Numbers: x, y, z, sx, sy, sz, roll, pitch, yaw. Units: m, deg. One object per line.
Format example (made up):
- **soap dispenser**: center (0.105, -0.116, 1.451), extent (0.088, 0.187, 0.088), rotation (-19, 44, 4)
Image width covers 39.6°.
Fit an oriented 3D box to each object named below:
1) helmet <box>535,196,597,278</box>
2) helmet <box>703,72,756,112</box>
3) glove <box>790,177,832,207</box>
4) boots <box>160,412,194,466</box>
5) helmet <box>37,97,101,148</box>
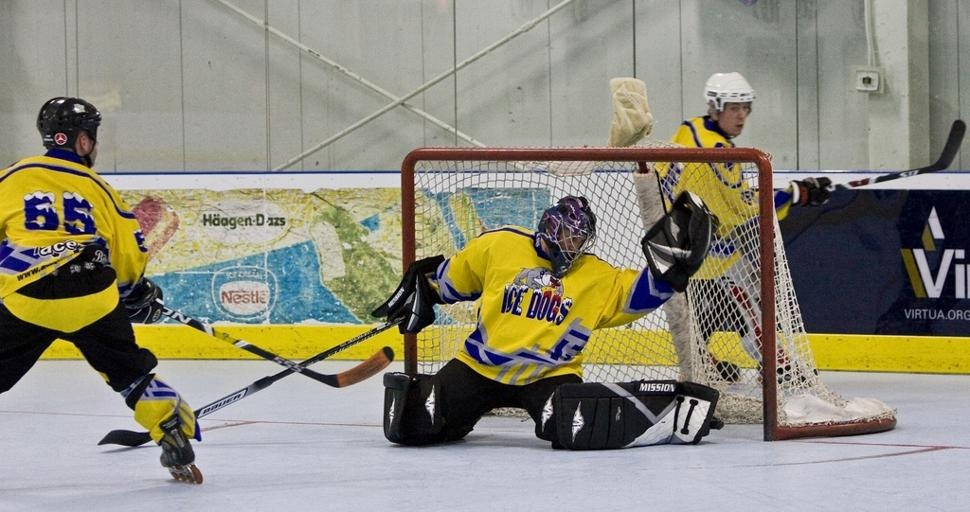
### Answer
- **helmet**: center (0.633, -0.183, 10.751), extent (0.530, 0.577, 0.516), rotation (24, 4, 1)
- **helmet**: center (2.067, -1.355, 11.563), extent (0.380, 0.349, 0.420), rotation (-10, 7, -26)
- **glove**: center (2.708, -0.522, 11.219), extent (0.329, 0.120, 0.205), rotation (-6, 36, -2)
- **boots**: center (-2.283, 1.371, 9.965), extent (0.223, 0.399, 0.148), rotation (5, 7, 44)
- **helmet**: center (-3.215, -0.961, 10.341), extent (0.437, 0.403, 0.471), rotation (4, 5, 25)
